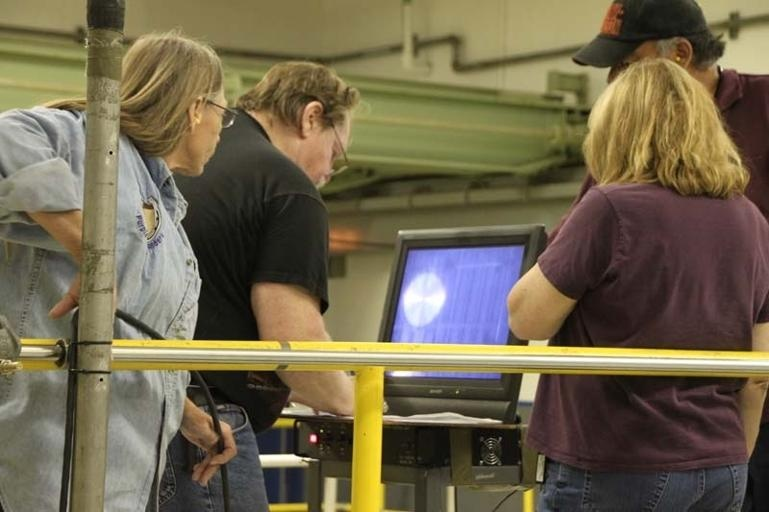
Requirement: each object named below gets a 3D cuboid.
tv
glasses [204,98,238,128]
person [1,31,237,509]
[{"bbox_3d":[0.242,0.213,4.879,0.662,0.740,0.108,3,-16,42],"label":"tv"},{"bbox_3d":[-0.466,-0.409,4.507,0.069,0.069,0.022,17,9,39],"label":"glasses"},{"bbox_3d":[-0.729,0.025,4.374,0.771,1.342,0.384,10,-11,-44],"label":"person"}]
